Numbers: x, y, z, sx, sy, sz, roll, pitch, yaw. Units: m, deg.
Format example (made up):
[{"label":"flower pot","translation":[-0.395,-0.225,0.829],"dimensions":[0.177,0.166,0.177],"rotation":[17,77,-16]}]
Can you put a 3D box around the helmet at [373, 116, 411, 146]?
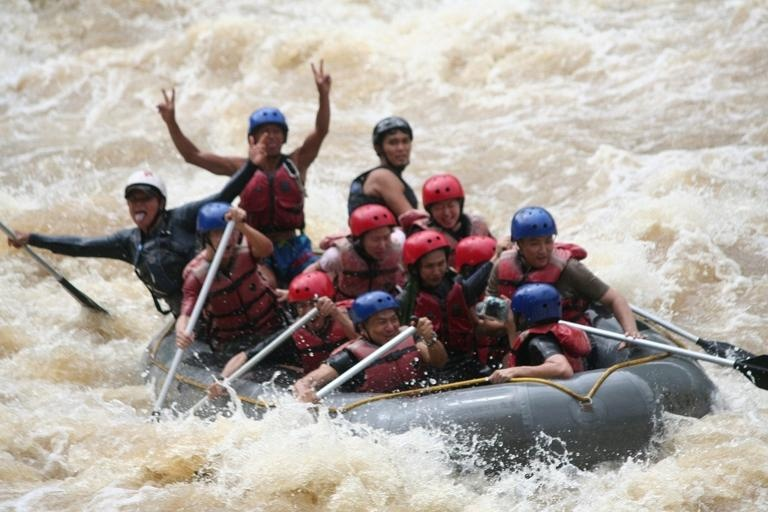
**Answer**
[{"label":"helmet","translation":[0.128,-1.685,18.498],"dimensions":[0.438,0.251,0.422],"rotation":[-3,8,14]}]

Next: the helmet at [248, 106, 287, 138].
[{"label":"helmet","translation":[-1.598,-1.848,18.131],"dimensions":[0.533,0.335,0.418],"rotation":[-7,54,-4]}]

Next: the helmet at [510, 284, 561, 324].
[{"label":"helmet","translation":[1.861,0.590,16.743],"dimensions":[0.477,0.415,0.553],"rotation":[-5,12,-22]}]

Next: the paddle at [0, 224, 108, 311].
[{"label":"paddle","translation":[-4.876,0.247,19.748],"dimensions":[0.195,1.820,0.275],"rotation":[-13,38,45]}]

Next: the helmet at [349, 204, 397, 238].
[{"label":"helmet","translation":[-0.148,-0.464,17.573],"dimensions":[0.417,0.521,0.460],"rotation":[-10,81,-38]}]

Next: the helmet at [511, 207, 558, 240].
[{"label":"helmet","translation":[1.904,-0.382,17.210],"dimensions":[0.434,0.488,0.432],"rotation":[-5,64,-8]}]

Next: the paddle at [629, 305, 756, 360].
[{"label":"paddle","translation":[4.173,1.058,18.023],"dimensions":[1.455,0.210,0.111],"rotation":[25,28,29]}]
